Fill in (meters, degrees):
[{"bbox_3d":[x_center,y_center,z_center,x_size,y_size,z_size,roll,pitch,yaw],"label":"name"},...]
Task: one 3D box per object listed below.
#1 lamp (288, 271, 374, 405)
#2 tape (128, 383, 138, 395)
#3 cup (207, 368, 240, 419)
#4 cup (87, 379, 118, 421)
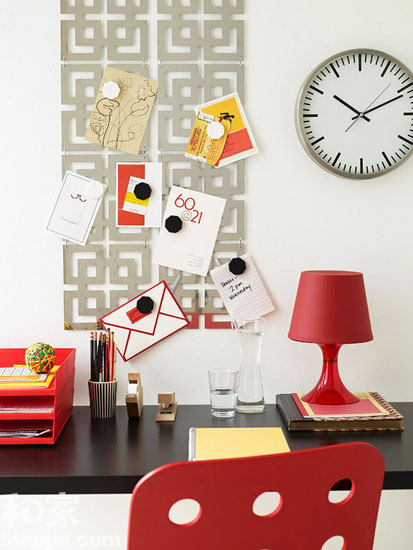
[{"bbox_3d":[0.310,0.160,1.327,0.218,0.313,0.212,0,-1,-12],"label":"lamp"},{"bbox_3d":[-0.187,0.281,1.302,0.024,0.023,0.006,2,-17,4],"label":"tape"},{"bbox_3d":[0.039,0.289,1.293,0.110,0.145,0.102,0,-6,0],"label":"cup"},{"bbox_3d":[-0.258,0.312,1.323,0.089,0.094,0.088,0,-3,0],"label":"cup"}]
